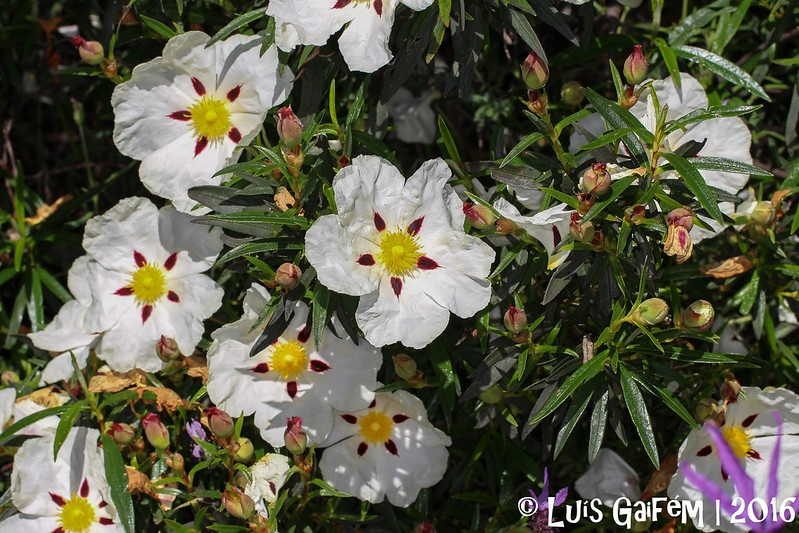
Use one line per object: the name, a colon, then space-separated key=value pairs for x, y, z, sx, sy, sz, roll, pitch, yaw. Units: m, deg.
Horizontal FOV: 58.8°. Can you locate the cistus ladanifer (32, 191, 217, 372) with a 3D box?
cistus ladanifer: x=-0.894 y=0.057 z=2.613 sx=0.623 sy=0.225 sz=0.693 roll=30 pitch=91 yaw=17

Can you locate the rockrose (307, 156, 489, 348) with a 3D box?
rockrose: x=-0.014 y=-0.108 z=2.493 sx=0.577 sy=0.740 sz=0.627 roll=-3 pitch=105 yaw=-12

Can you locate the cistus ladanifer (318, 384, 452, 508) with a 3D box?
cistus ladanifer: x=-0.028 y=0.670 z=2.635 sx=0.426 sy=0.156 sz=0.438 roll=-31 pitch=83 yaw=4

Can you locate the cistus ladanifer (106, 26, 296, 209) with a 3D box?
cistus ladanifer: x=-0.743 y=-0.632 z=2.760 sx=0.620 sy=0.648 sz=0.669 roll=-13 pitch=103 yaw=-14
